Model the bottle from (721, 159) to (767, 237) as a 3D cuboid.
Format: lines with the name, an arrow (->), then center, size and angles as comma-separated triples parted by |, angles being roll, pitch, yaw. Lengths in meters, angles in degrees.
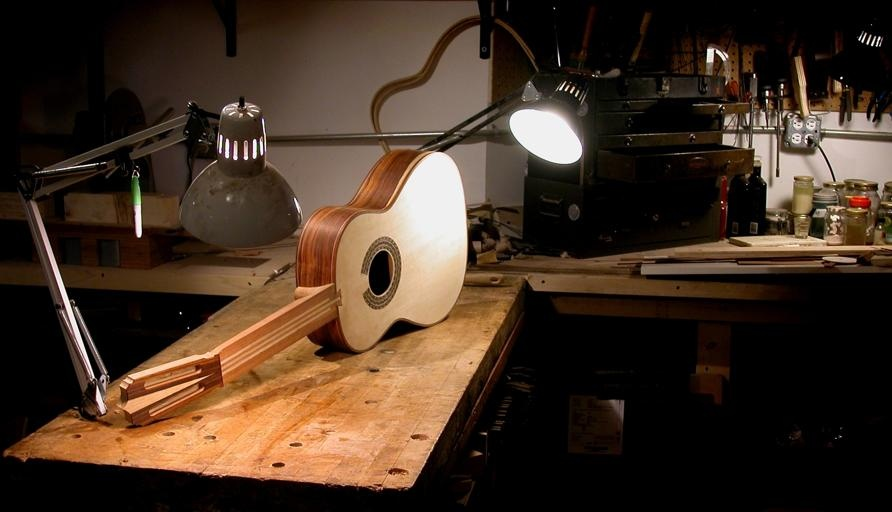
bottle -> 1.713, -0.328, 3.823 | 0.217, 0.439, 0.142 | 6, 10, 22

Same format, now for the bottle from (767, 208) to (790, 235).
bottle -> 1.893, -0.195, 3.834 | 0.135, 0.135, 0.115 | 3, 9, 5

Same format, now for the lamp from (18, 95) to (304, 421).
lamp -> -1.049, -0.002, 2.452 | 0.925, 1.137, 0.415 | 5, 10, 18

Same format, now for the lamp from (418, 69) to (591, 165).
lamp -> 0.264, -0.628, 3.239 | 0.791, 0.322, 0.454 | -1, -2, 20
